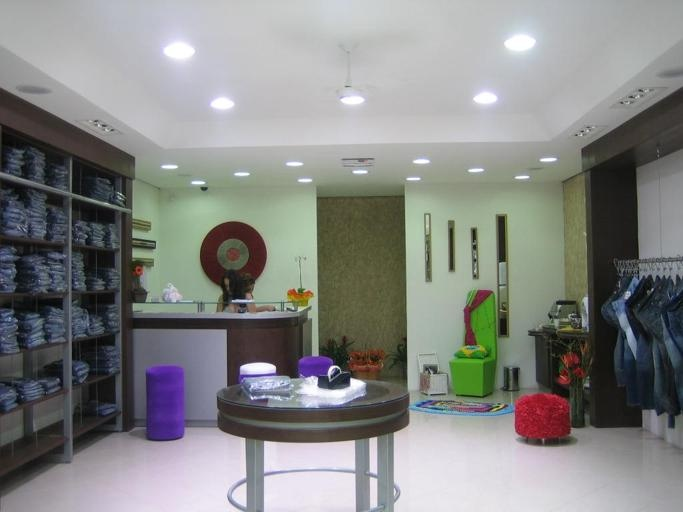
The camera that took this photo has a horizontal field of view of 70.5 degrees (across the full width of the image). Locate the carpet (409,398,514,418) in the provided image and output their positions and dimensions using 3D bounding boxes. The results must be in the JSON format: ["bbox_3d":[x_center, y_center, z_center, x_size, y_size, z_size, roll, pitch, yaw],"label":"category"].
[{"bbox_3d":[1.733,2.159,6.959,1.411,0.060,0.846,-1,-2,15],"label":"carpet"}]

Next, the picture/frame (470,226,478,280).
[{"bbox_3d":[2.246,-0.038,8.148,0.144,0.873,0.044,-1,-2,12],"label":"picture/frame"}]

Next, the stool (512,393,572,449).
[{"bbox_3d":[2.336,1.827,5.599,0.770,0.441,0.763,13,-19,-38],"label":"stool"}]

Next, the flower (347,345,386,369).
[{"bbox_3d":[0.433,1.803,8.451,0.598,0.308,0.405,0,-2,0],"label":"flower"}]

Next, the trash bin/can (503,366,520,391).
[{"bbox_3d":[2.780,2.007,7.924,0.311,0.375,0.330,0,-8,-1],"label":"trash bin/can"}]

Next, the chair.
[{"bbox_3d":[2.164,1.378,7.858,0.582,1.665,0.865,-1,-2,29],"label":"chair"}]

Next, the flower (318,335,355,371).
[{"bbox_3d":[-0.070,1.809,8.961,0.538,0.628,0.564,4,-12,-15],"label":"flower"}]

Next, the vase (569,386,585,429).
[{"bbox_3d":[2.941,1.846,6.036,0.162,0.515,0.288,-1,-2,26],"label":"vase"}]

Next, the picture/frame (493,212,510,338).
[{"bbox_3d":[2.710,0.321,8.129,0.218,2.039,0.053,0,-2,-10],"label":"picture/frame"}]

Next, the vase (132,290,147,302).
[{"bbox_3d":[-2.558,0.517,6.151,0.163,0.134,0.137,2,-6,-25],"label":"vase"}]

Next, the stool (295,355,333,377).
[{"bbox_3d":[-0.313,1.423,6.221,0.367,0.233,0.647,1,-3,-37],"label":"stool"}]

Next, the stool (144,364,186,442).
[{"bbox_3d":[-2.054,1.712,5.645,0.403,0.852,0.270,0,-2,-19],"label":"stool"}]
